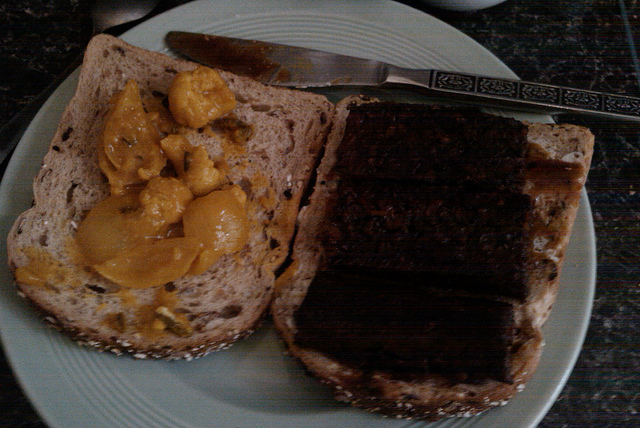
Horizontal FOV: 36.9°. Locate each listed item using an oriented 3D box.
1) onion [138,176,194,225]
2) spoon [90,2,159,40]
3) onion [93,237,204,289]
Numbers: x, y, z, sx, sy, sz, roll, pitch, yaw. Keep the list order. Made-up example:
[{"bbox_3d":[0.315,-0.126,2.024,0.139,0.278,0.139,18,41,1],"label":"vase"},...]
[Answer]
[{"bbox_3d":[-0.618,-0.052,3.818,0.312,0.068,0.154,1,86,-12],"label":"onion"},{"bbox_3d":[-0.944,-0.909,4.417,0.175,0.054,0.273,7,79,2],"label":"spoon"},{"bbox_3d":[-0.649,0.189,3.829,0.390,0.066,0.198,-31,84,-6],"label":"onion"}]
